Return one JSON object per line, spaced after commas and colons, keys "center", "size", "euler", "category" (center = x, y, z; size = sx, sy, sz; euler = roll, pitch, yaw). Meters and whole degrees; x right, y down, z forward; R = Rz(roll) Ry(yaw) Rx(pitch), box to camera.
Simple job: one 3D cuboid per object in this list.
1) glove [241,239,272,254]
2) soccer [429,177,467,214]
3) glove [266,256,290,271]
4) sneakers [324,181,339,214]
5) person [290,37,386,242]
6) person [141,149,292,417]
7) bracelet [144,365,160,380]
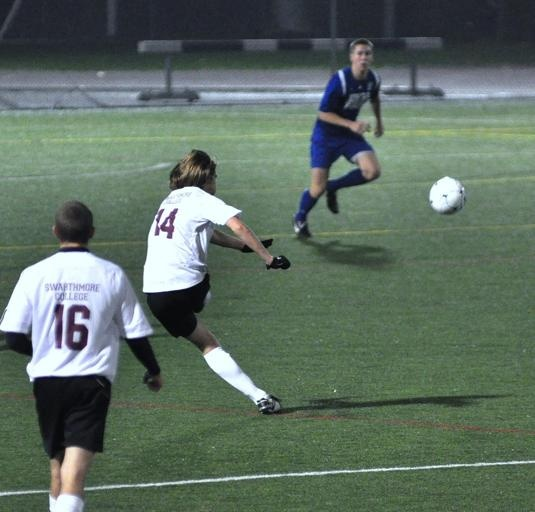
{"center": [-0.068, -0.059, 7.875], "size": [0.065, 0.133, 0.041], "euler": [28, 32, -16], "category": "glove"}
{"center": [1.720, -0.561, 11.455], "size": [0.221, 0.350, 0.325], "euler": [-1, 4, -32], "category": "soccer"}
{"center": [0.084, 0.050, 7.579], "size": [0.142, 0.058, 0.075], "euler": [-11, 22, 11], "category": "glove"}
{"center": [0.630, -0.542, 11.597], "size": [0.117, 0.278, 0.131], "euler": [-4, 19, 7], "category": "sneakers"}
{"center": [0.647, -1.092, 11.048], "size": [0.840, 1.912, 1.228], "euler": [1, 3, 4], "category": "person"}
{"center": [-0.346, 0.173, 7.676], "size": [0.870, 1.689, 0.656], "euler": [1, 3, -6], "category": "person"}
{"center": [-0.644, 0.653, 6.684], "size": [0.097, 0.069, 0.092], "euler": [0, 1, 30], "category": "bracelet"}
